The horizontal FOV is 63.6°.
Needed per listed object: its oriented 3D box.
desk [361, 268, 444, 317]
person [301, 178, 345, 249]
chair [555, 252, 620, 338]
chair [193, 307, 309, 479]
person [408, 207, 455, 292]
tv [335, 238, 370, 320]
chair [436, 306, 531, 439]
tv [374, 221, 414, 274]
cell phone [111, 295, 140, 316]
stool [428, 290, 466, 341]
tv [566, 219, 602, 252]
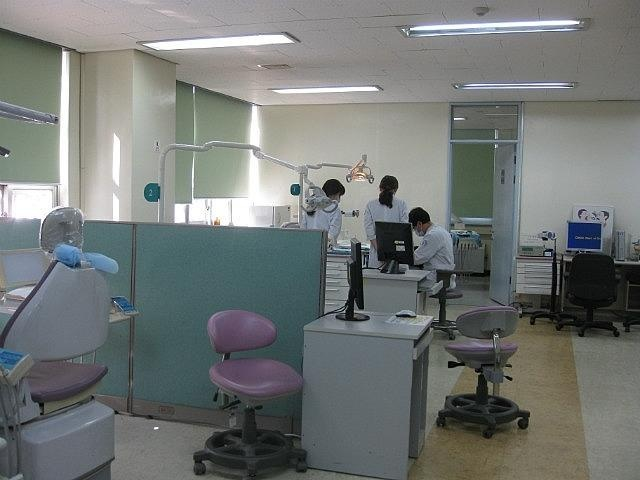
[{"bbox_3d":[0.776,0.312,4.852,0.612,0.623,0.473,4,10,27],"label":"desk"},{"bbox_3d":[0.037,-0.276,5.396,0.449,0.753,1.084,1,5,-2],"label":"person"},{"bbox_3d":[3.339,0.675,6.402,0.681,0.930,0.712,5,-4,6],"label":"chair"},{"bbox_3d":[-0.404,0.927,3.144,0.675,0.947,0.564,3,5,23],"label":"chair"},{"bbox_3d":[1.234,0.187,5.934,0.639,1.066,0.531,-1,6,27],"label":"person"},{"bbox_3d":[0.192,0.261,3.356,0.219,0.516,0.514,-1,3,5],"label":"tv"},{"bbox_3d":[1.215,0.919,3.883,0.724,0.921,0.666,2,-1,-3],"label":"chair"},{"bbox_3d":[0.689,0.070,4.811,0.438,0.533,0.186,4,16,26],"label":"tv"},{"bbox_3d":[-1.274,0.423,3.361,0.173,0.065,0.100,19,18,41],"label":"cell phone"},{"bbox_3d":[1.448,0.849,6.124,0.459,0.526,0.482,2,2,-27],"label":"stool"},{"bbox_3d":[3.669,-0.057,7.173,0.420,0.411,0.046,1,1,17],"label":"tv"}]
